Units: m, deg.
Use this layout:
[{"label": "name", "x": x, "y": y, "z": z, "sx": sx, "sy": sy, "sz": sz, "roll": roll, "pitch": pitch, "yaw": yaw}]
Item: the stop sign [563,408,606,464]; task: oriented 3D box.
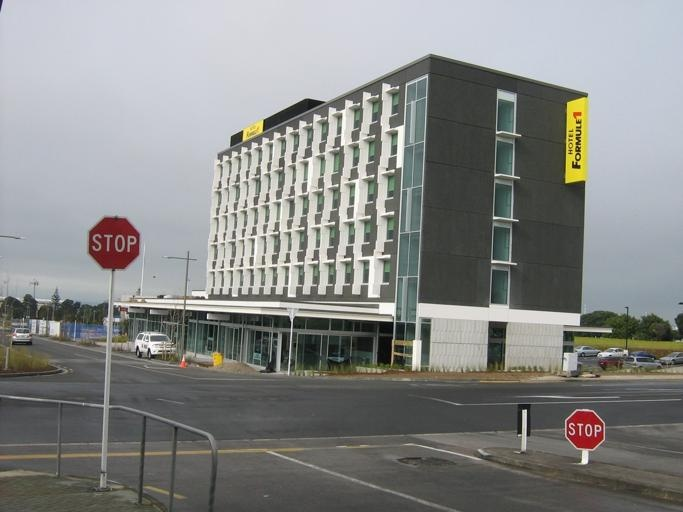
[{"label": "stop sign", "x": 5.745, "y": 4.263, "z": 15.823, "sx": 0.589, "sy": 1.210, "sz": 0.732, "roll": 6, "pitch": -9, "yaw": -20}]

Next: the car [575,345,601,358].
[{"label": "car", "x": 35.297, "y": 13.653, "z": 96.103, "sx": 2.924, "sy": 1.615, "sz": 3.294, "roll": 1, "pitch": -9, "yaw": 12}]

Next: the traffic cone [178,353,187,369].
[{"label": "traffic cone", "x": -11.689, "y": 7.711, "z": 49.138, "sx": 0.861, "sy": 1.237, "sz": 0.933, "roll": 1, "pitch": -8, "yaw": -3}]

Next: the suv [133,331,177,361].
[{"label": "suv", "x": -15.743, "y": 7.464, "z": 55.941, "sx": 1.985, "sy": 1.968, "sz": 4.152, "roll": 2, "pitch": -9, "yaw": -28}]
